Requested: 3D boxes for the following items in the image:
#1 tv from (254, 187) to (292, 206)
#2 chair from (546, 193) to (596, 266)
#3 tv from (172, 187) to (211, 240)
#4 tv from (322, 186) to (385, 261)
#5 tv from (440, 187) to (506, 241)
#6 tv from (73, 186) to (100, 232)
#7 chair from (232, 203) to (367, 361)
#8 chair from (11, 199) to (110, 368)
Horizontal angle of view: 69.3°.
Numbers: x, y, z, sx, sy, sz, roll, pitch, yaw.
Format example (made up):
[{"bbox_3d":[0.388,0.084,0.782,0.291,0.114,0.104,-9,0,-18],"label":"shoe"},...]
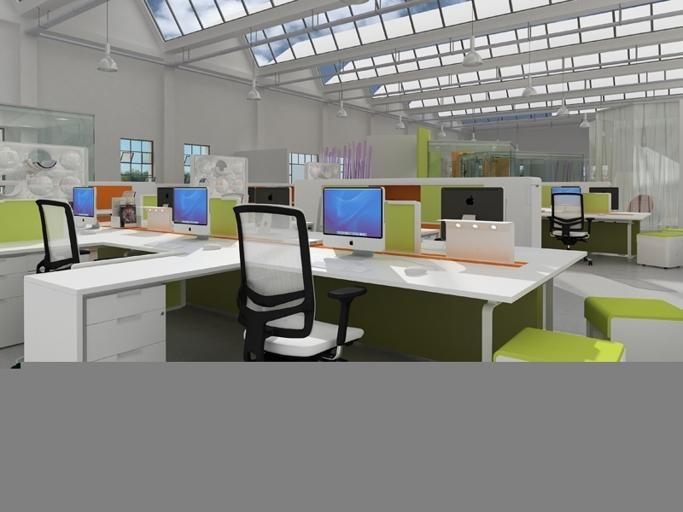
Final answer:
[{"bbox_3d":[-0.770,-0.669,5.570,0.585,0.142,0.418,3,4,41],"label":"tv"},{"bbox_3d":[4.084,-0.501,8.840,0.761,1.302,0.710,5,15,35],"label":"chair"},{"bbox_3d":[-1.414,-0.399,4.672,0.492,0.506,0.165,1,-1,28],"label":"tv"},{"bbox_3d":[0.094,-0.247,3.575,0.524,0.487,0.180,2,0,34],"label":"tv"},{"bbox_3d":[1.302,-0.364,4.656,0.585,0.575,0.493,1,-3,37],"label":"tv"},{"bbox_3d":[-2.935,-0.531,5.666,0.578,0.578,0.187,2,-1,39],"label":"tv"},{"bbox_3d":[-0.264,0.265,2.983,0.790,1.140,0.693,7,9,34],"label":"chair"},{"bbox_3d":[-2.268,0.128,4.269,0.577,1.130,0.652,6,1,-5],"label":"chair"}]
